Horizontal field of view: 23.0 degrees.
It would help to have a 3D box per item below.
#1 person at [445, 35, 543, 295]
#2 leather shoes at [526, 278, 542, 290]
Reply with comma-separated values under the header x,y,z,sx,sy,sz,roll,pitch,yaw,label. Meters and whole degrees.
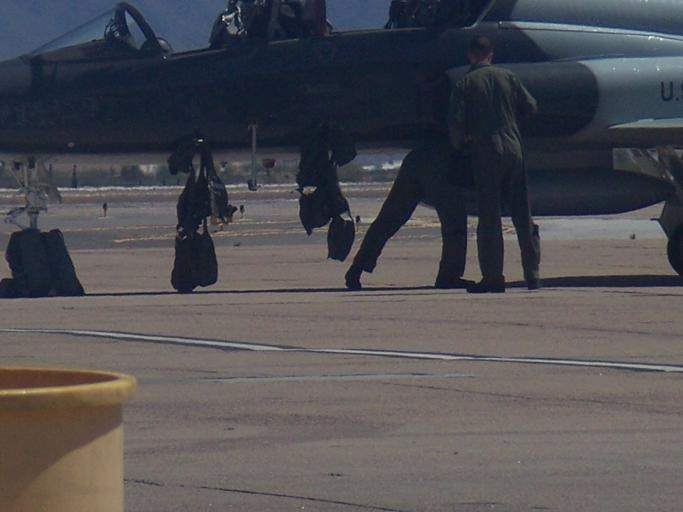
x,y,z,sx,sy,sz,roll,pitch,yaw,label
1.859,-1.093,20.422,1.139,3.097,0.475,1,8,5,person
2.365,0.343,20.656,0.146,0.103,0.147,0,3,36,leather shoes
